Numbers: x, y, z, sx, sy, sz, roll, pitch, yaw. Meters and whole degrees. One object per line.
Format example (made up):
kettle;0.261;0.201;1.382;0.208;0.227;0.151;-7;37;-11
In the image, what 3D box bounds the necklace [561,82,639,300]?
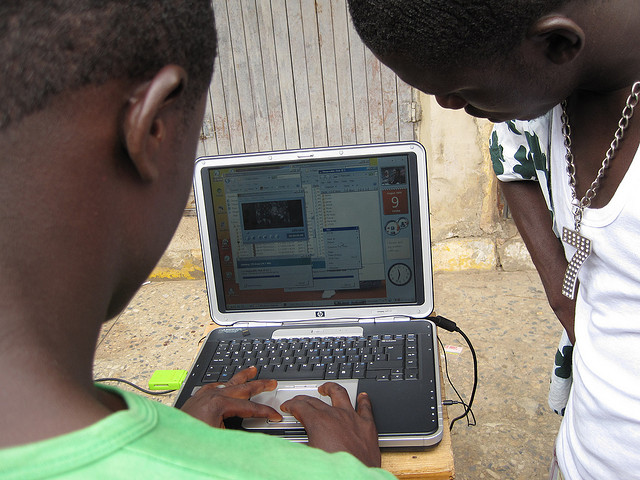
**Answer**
necklace;0.502;-0.098;0.977;0.107;0.406;0.224;7;37;18
